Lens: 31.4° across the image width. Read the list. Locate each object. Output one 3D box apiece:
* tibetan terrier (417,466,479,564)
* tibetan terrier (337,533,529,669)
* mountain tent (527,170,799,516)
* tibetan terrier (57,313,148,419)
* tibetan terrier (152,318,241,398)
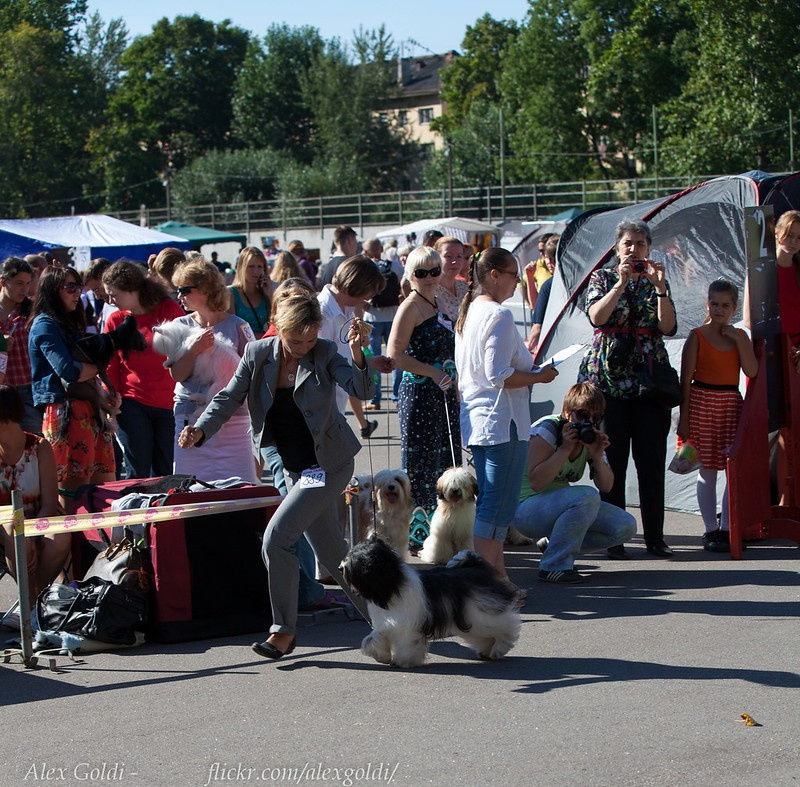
[{"bbox_3d":[0.303,0.724,8.648,0.366,0.535,0.427,-1,10,-9],"label":"tibetan terrier"},{"bbox_3d":[0.168,1.009,6.996,0.907,0.629,0.312,-4,1,-21],"label":"tibetan terrier"},{"bbox_3d":[2.235,-0.538,11.042,2.621,1.885,2.057,1,4,26],"label":"mountain tent"},{"bbox_3d":[-1.762,-0.215,8.510,0.168,0.320,0.570,-22,14,29],"label":"tibetan terrier"},{"bbox_3d":[-1.165,-0.182,8.116,0.502,0.500,0.367,13,3,38],"label":"tibetan terrier"}]
